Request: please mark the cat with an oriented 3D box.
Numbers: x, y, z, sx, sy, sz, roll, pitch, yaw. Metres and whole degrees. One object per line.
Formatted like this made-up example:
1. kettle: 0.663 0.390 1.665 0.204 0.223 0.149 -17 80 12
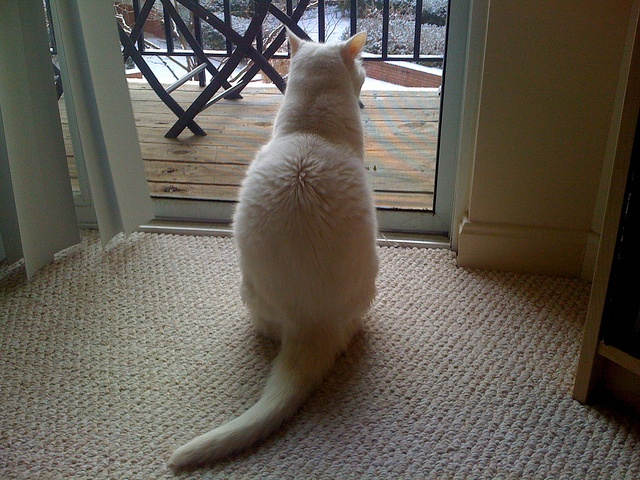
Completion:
1. cat: -0.058 -0.027 1.336 0.423 1.004 0.743 7 21 10
